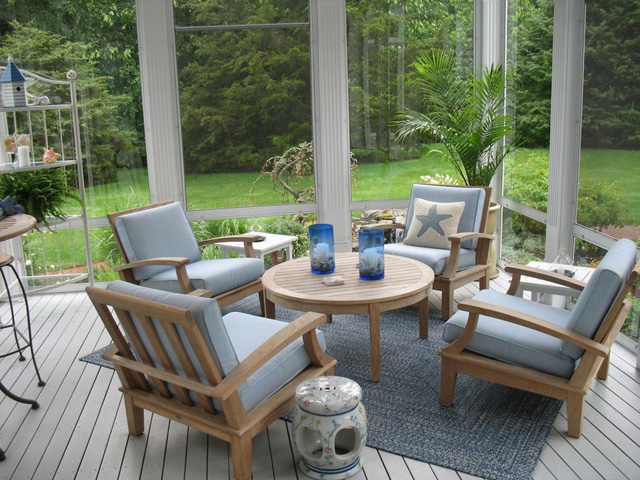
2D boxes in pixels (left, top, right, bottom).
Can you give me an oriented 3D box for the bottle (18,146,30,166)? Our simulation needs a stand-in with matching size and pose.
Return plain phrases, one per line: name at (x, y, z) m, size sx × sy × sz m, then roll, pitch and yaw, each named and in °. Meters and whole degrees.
bottle at (-2.511, -0.709, 4.177) m, size 0.101 × 0.175 × 0.137 m, roll -14°, pitch 21°, yaw -28°
